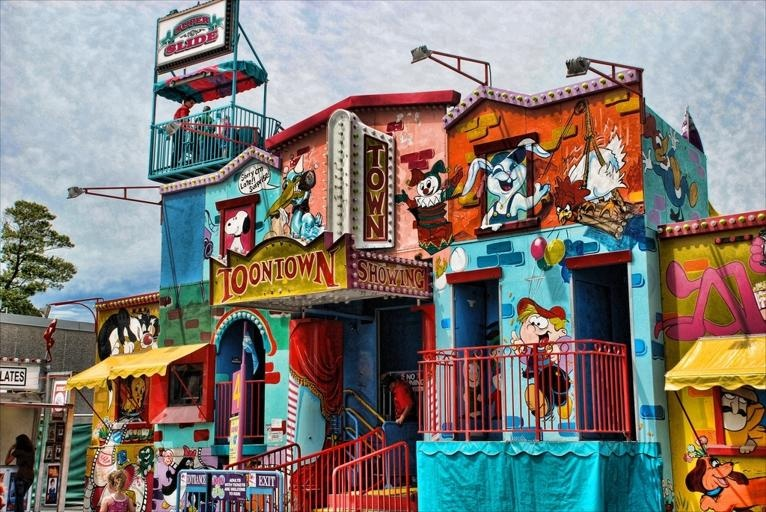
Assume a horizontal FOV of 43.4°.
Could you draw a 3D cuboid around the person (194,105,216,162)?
[{"bbox_3d":[-5.757,-3.774,30.787,0.493,1.907,0.563,4,4,23],"label":"person"}]
